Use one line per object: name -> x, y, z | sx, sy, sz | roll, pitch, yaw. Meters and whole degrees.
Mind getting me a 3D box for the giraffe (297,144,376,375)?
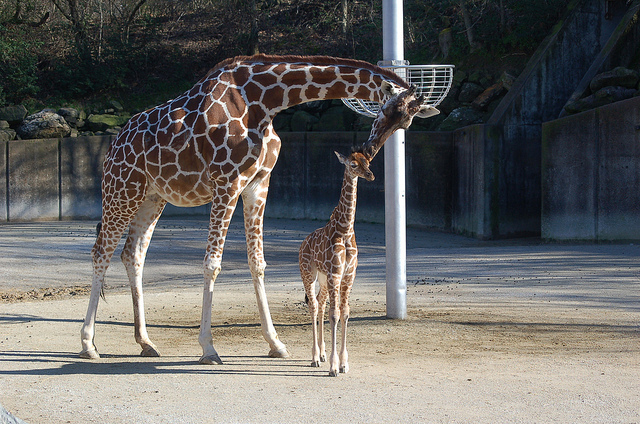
giraffe -> 0.374, 1.343, 39.641 | 2.181, 5.945, 3.056 | 1, -2, -1
